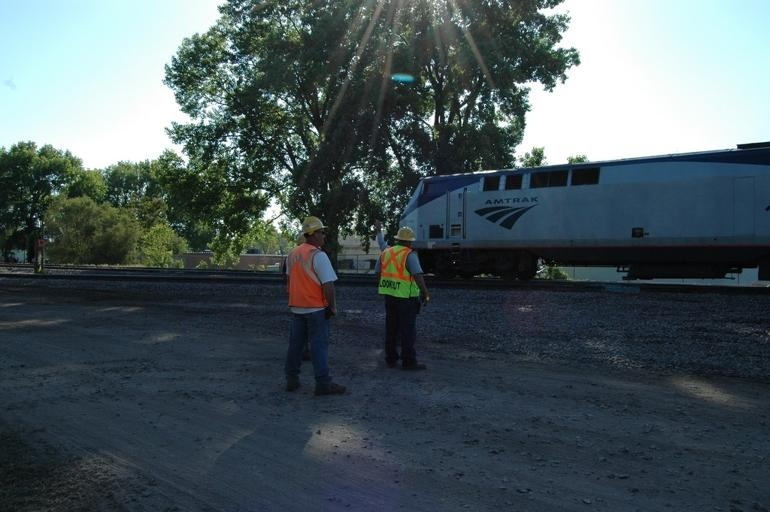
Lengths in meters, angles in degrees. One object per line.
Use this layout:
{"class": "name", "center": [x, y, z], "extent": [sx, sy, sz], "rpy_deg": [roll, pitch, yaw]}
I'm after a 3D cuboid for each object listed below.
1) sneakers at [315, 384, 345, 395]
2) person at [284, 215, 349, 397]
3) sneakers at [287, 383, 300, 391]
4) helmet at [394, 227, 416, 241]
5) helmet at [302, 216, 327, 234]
{"class": "sneakers", "center": [-0.820, 1.962, 8.392], "extent": [0.453, 0.202, 0.166], "rpy_deg": [0, -1, -11]}
{"class": "person", "center": [-1.110, 0.736, 8.528], "extent": [0.860, 2.579, 0.629], "rpy_deg": [0, 3, 9]}
{"class": "sneakers", "center": [-1.384, 1.964, 8.508], "extent": [0.206, 0.120, 0.090], "rpy_deg": [-2, 3, -34]}
{"class": "helmet", "center": [0.366, -0.352, 10.374], "extent": [0.306, 0.215, 0.404], "rpy_deg": [3, -1, 2]}
{"class": "helmet", "center": [-1.083, -0.436, 8.630], "extent": [0.289, 0.151, 0.283], "rpy_deg": [-6, 3, -42]}
